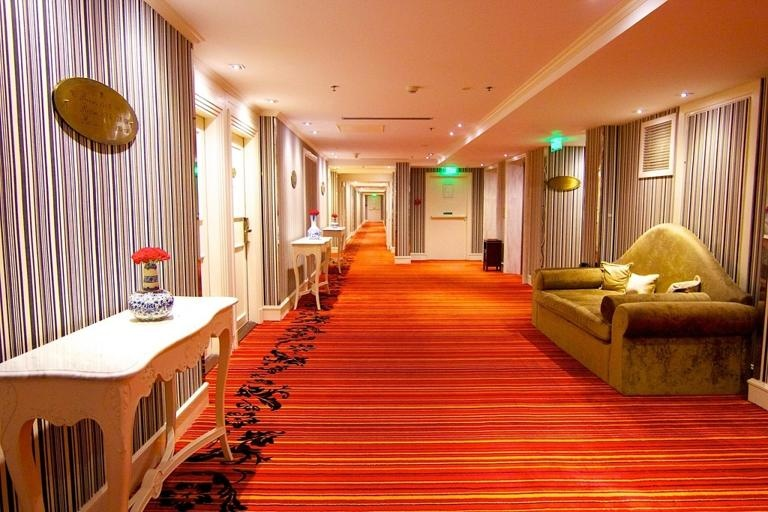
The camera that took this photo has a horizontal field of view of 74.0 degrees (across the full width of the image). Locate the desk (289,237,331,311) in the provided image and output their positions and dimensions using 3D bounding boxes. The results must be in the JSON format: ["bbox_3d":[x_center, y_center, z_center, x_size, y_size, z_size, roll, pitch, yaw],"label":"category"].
[{"bbox_3d":[-1.157,0.281,7.890,0.401,0.746,1.090,0,5,-3],"label":"desk"}]

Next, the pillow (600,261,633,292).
[{"bbox_3d":[2.689,0.243,5.906,0.141,0.332,0.324,19,-11,-36],"label":"pillow"}]

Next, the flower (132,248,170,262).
[{"bbox_3d":[-1.488,-0.004,3.285,0.196,0.101,0.193,-5,14,-20],"label":"flower"}]

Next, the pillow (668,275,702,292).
[{"bbox_3d":[2.886,0.264,4.910,0.199,0.105,0.155,-6,-1,0],"label":"pillow"}]

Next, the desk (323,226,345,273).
[{"bbox_3d":[-1.006,-0.190,10.535,0.323,0.677,0.955,-9,3,-10],"label":"desk"}]

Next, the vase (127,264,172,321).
[{"bbox_3d":[-1.449,0.224,3.237,0.289,0.336,0.294,-1,11,13],"label":"vase"}]

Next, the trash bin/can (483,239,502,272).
[{"bbox_3d":[2.443,-0.051,11.127,0.533,0.857,0.893,2,5,10],"label":"trash bin/can"}]
